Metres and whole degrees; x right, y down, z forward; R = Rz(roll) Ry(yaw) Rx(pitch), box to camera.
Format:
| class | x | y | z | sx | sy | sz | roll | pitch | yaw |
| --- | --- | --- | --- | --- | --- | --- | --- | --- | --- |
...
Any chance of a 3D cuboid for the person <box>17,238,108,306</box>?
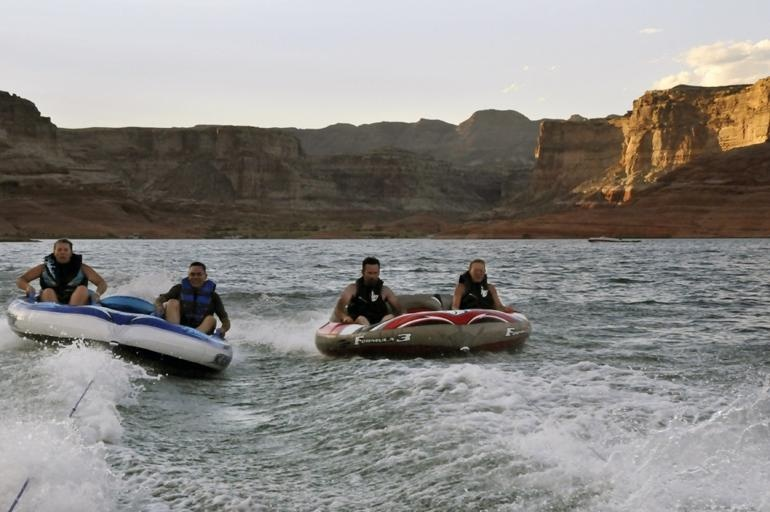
| class | x | y | z | sx | sy | sz | roll | pitch | yaw |
| --- | --- | --- | --- | --- | --- | --- | --- | --- | --- |
| person | -5.385 | 0.498 | 13.497 | 1.499 | 1.300 | 0.905 | 0 | 7 | -10 |
